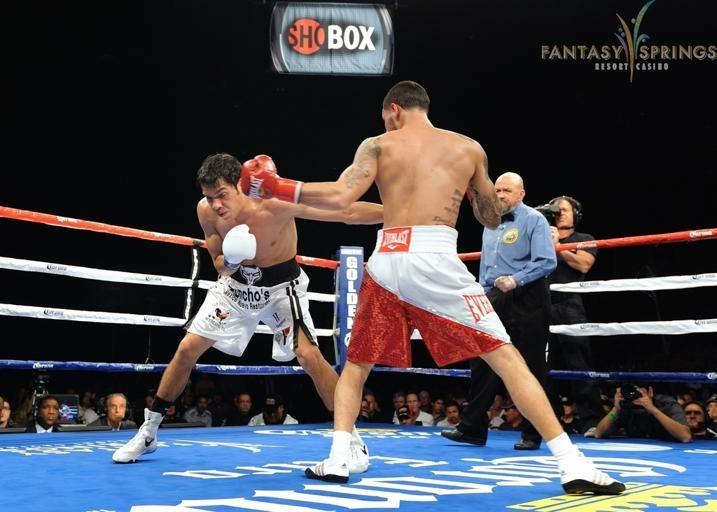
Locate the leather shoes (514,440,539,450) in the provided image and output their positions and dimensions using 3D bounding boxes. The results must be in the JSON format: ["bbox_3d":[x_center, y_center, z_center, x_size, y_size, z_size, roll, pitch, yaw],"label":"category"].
[{"bbox_3d":[1.154,1.302,4.323,0.189,0.068,0.064,12,-17,-34],"label":"leather shoes"}]

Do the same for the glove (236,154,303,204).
[{"bbox_3d":[-0.446,-0.361,3.124,0.314,0.209,0.116,15,-35,3],"label":"glove"}]

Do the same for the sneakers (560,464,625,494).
[{"bbox_3d":[1.087,1.070,3.005,0.367,0.149,0.116,2,-13,-5],"label":"sneakers"}]

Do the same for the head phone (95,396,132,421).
[{"bbox_3d":[-2.030,1.314,5.232,0.214,0.315,0.224,-5,-14,14],"label":"head phone"}]

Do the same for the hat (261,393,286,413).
[{"bbox_3d":[-0.855,1.483,6.349,0.169,0.119,0.228,3,-11,2],"label":"hat"}]

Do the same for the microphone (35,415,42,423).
[{"bbox_3d":[-2.496,1.269,4.888,0.034,0.045,0.007,4,11,3],"label":"microphone"}]

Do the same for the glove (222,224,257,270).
[{"bbox_3d":[-0.682,-0.048,3.631,0.198,0.234,0.101,12,-7,3],"label":"glove"}]

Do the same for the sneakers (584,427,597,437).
[{"bbox_3d":[1.874,1.422,5.056,0.053,0.054,0.137,2,-2,17],"label":"sneakers"}]

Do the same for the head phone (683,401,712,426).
[{"bbox_3d":[2.641,1.239,4.939,0.196,0.216,0.249,-7,-22,29],"label":"head phone"}]

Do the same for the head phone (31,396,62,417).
[{"bbox_3d":[-2.434,1.182,4.900,0.163,0.191,0.164,5,-22,-29],"label":"head phone"}]

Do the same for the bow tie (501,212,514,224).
[{"bbox_3d":[1.057,-0.269,4.422,0.092,0.082,0.051,-6,-14,32],"label":"bow tie"}]
